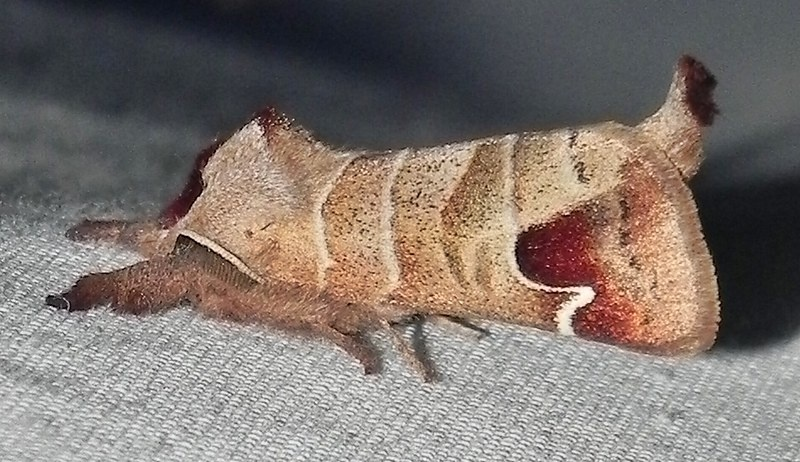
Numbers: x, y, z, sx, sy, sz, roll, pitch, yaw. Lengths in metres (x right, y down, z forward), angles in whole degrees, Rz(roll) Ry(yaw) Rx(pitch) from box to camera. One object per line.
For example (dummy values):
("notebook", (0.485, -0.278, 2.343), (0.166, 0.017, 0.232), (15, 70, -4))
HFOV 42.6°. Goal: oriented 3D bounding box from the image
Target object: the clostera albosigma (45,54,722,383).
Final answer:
("clostera albosigma", (-0.004, -0.019, 0.974), (0.610, 0.298, 0.282), (12, 58, -8))
